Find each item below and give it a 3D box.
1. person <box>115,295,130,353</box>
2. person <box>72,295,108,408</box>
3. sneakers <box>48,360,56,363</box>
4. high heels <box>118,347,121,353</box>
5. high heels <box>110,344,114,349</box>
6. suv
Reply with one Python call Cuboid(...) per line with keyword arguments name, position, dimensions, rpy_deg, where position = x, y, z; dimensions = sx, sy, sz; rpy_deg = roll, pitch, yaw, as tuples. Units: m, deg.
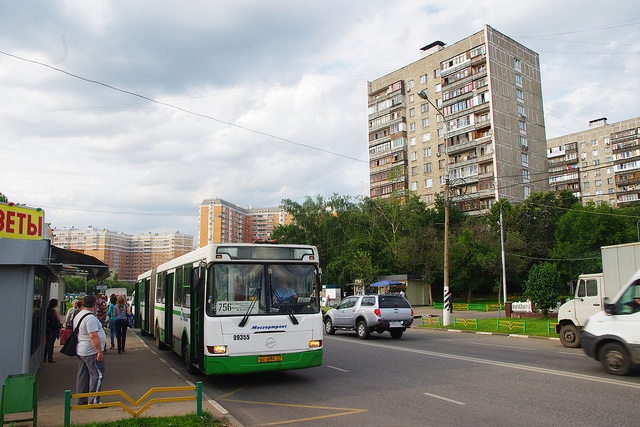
Cuboid(name="person", position=(-8.205, 4.541, 21.269), dimensions=(0.545, 2.355, 1.231), rpy_deg=(3, -10, -21))
Cuboid(name="person", position=(-5.804, 3.294, 12.999), dimensions=(0.855, 2.405, 0.590), rpy_deg=(-7, -11, 35))
Cuboid(name="sneakers", position=(-9.773, 5.409, 18.878), dimensions=(0.220, 0.099, 0.262), rpy_deg=(-5, -12, 22))
Cuboid(name="high heels", position=(-8.086, 5.547, 20.826), dimensions=(0.128, 0.253, 0.134), rpy_deg=(1, -8, -12))
Cuboid(name="high heels", position=(-8.803, 5.673, 21.855), dimensions=(0.122, 0.174, 0.402), rpy_deg=(-1, -17, -4))
Cuboid(name="suv", position=(2.069, 5.179, 25.838), dimensions=(1.717, 2.074, 5.196), rpy_deg=(9, -14, -43))
